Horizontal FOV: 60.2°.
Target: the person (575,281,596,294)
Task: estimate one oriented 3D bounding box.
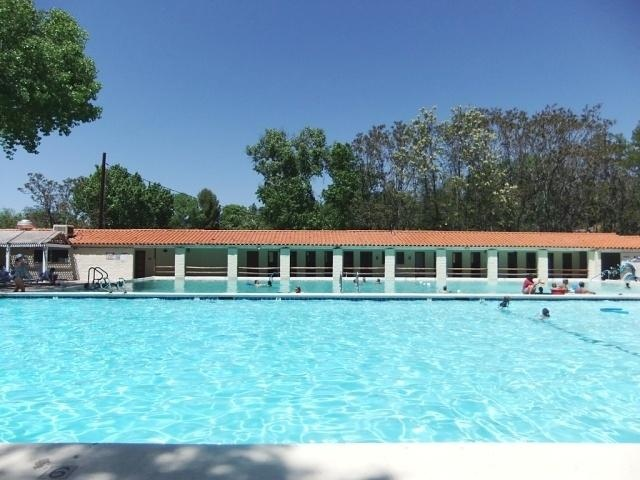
[{"bbox_3d":[13.473,2.405,27.988,0.812,0.995,0.269,6,25,41],"label":"person"}]

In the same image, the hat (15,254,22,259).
[{"bbox_3d":[-16.532,0.878,30.118,0.256,0.469,0.254,0,-5,-14],"label":"hat"}]
